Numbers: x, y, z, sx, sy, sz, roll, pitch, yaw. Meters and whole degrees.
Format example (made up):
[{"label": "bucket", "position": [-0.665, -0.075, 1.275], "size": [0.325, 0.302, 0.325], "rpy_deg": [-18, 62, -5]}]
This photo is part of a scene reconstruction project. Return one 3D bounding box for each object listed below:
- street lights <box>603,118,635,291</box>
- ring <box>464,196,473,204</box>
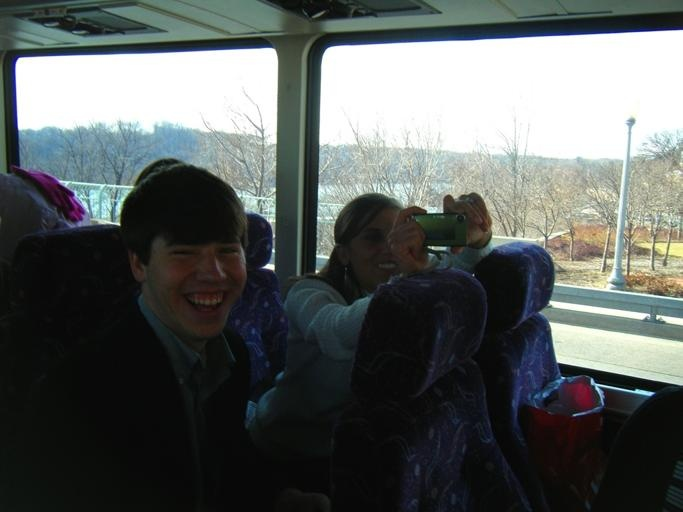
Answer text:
[{"label": "street lights", "position": [1.219, -0.223, 2.446], "size": [0.073, 0.762, 0.110], "rpy_deg": [6, 9, 26]}, {"label": "ring", "position": [0.413, -0.189, 1.845], "size": [0.020, 0.023, 0.029], "rpy_deg": [10, 13, 42]}]
